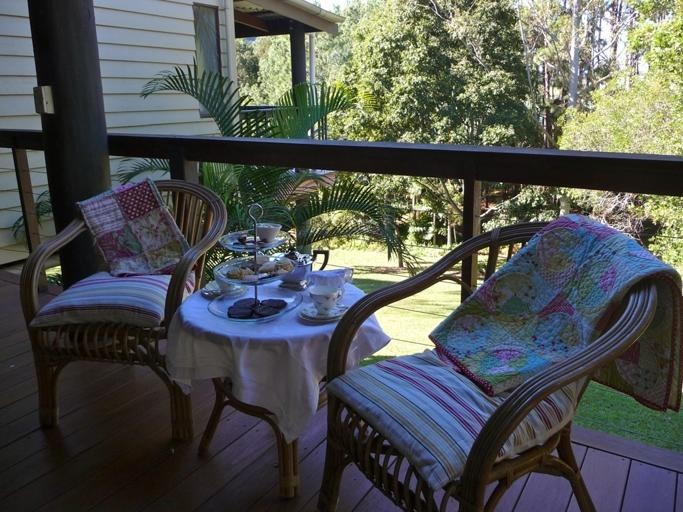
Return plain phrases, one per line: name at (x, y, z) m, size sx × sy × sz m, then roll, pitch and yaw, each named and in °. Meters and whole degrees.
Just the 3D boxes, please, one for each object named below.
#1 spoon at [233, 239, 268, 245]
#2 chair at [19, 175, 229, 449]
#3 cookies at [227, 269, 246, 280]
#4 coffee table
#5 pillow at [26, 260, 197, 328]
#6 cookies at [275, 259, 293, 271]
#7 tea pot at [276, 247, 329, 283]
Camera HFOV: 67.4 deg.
spoon at (-0.380, -0.056, 2.139) m, size 0.140 × 0.020 × 0.081 m, roll -3°, pitch 18°, yaw -14°
chair at (-0.890, 0.216, 2.699) m, size 1.071 × 1.273 × 1.059 m, roll 1°, pitch 14°, yaw 7°
cookies at (-0.410, 0.074, 1.979) m, size 0.049 × 0.016 × 0.049 m, roll 1°, pitch 12°, yaw -3°
coffee table at (-0.265, 0.541, 2.173) m, size 0.834 × 0.593 × 0.781 m, roll 0°, pitch 11°, yaw -18°
pillow at (-1.198, 0.274, 2.412) m, size 0.532 × 0.112 × 0.513 m, roll 3°, pitch -2°, yaw -30°
cookies at (-0.232, 0.031, 2.019) m, size 0.051 × 0.035 × 0.049 m, roll 2°, pitch 19°, yaw 1°
tea pot at (-0.172, 0.045, 2.241) m, size 0.268 × 0.181 × 0.175 m, roll -1°, pitch 12°, yaw -29°
